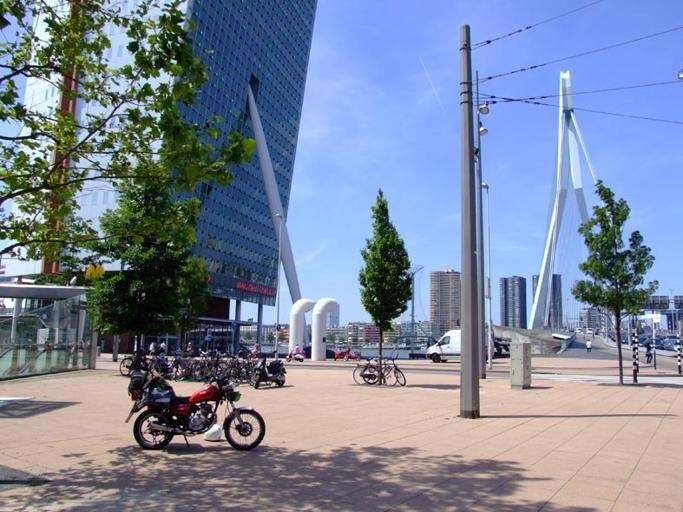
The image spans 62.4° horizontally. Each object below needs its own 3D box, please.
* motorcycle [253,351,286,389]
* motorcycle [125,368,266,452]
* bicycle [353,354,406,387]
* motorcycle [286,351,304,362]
[{"bbox_3d":[-2.537,4.253,21.507,0.612,1.132,1.698,5,-5,-25],"label":"motorcycle"},{"bbox_3d":[-2.747,2.948,10.936,2.380,1.531,1.328,0,-4,-7],"label":"motorcycle"},{"bbox_3d":[1.553,4.772,22.832,2.519,1.635,1.293,0,0,3],"label":"bicycle"},{"bbox_3d":[-3.375,7.381,41.123,1.294,0.650,1.073,0,-9,9],"label":"motorcycle"}]
